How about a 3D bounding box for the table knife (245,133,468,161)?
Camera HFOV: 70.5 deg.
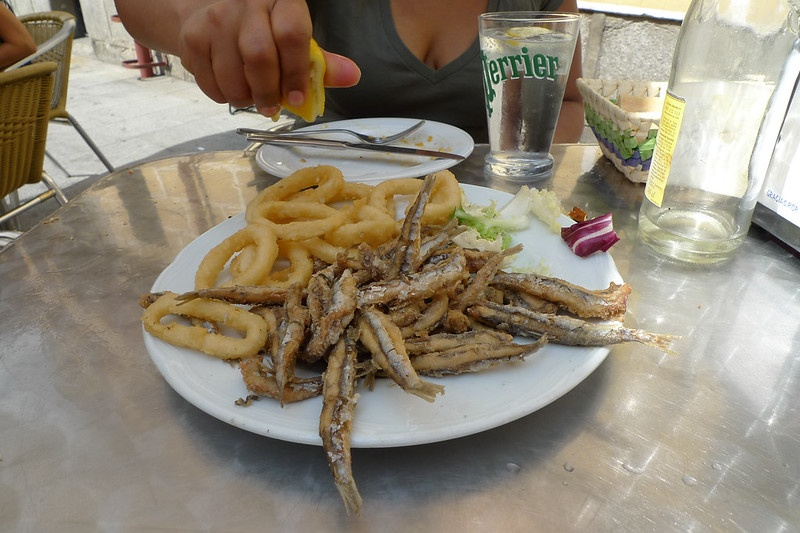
[{"bbox_3d":[-0.175,-0.519,2.483,0.874,0.081,0.057,7,75,1],"label":"table knife"}]
